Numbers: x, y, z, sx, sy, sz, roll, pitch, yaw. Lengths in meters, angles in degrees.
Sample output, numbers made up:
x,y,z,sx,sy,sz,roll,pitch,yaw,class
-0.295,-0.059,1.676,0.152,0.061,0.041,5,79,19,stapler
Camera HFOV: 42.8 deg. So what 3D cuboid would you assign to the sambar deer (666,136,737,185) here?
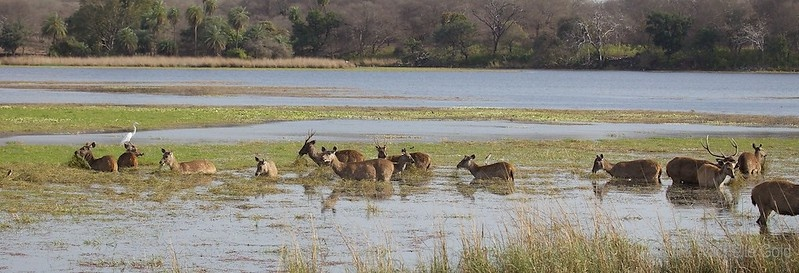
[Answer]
x,y,z,sx,sy,sz,roll,pitch,yaw,class
66.020,6.847,214.519,18.892,11.292,7.786,2,10,4,sambar deer
